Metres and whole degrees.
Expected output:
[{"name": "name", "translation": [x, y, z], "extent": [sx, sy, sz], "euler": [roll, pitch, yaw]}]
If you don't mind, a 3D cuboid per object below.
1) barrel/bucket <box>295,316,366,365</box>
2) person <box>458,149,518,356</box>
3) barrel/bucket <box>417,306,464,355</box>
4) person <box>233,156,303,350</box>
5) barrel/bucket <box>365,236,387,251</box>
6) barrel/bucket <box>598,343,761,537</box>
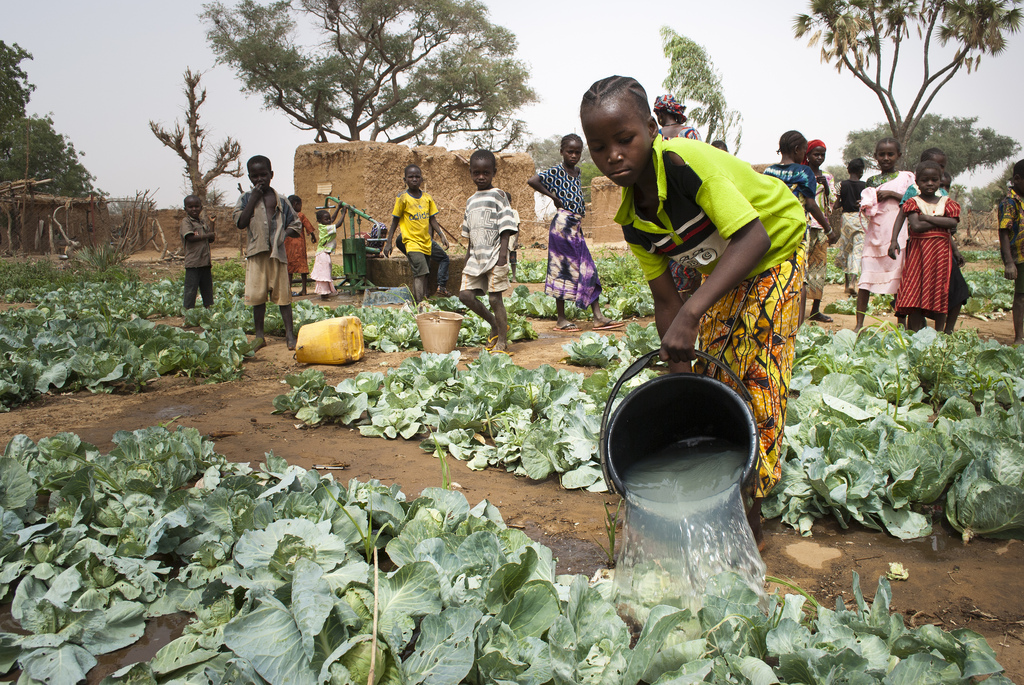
[{"name": "barrel/bucket", "translation": [-1.508, 0.023, 5.981], "extent": [0.505, 0.366, 0.491], "euler": [-3, 1, 0]}, {"name": "person", "translation": [-0.210, -0.830, 6.360], "extent": [0.515, 1.781, 0.966], "euler": [0, 3, 0]}, {"name": "barrel/bucket", "translation": [-0.591, -0.083, 5.746], "extent": [0.340, 0.321, 0.327], "euler": [0, 3, 0]}, {"name": "person", "translation": [-2.206, -0.823, 6.446], "extent": [0.645, 1.669, 0.525], "euler": [-6, 11, -34]}, {"name": "barrel/bucket", "translation": [-2.141, -1.542, 11.128], "extent": [0.204, 0.207, 0.241], "euler": [-4, 21, -29]}, {"name": "barrel/bucket", "translation": [0.692, 0.434, 2.816], "extent": [0.583, 0.833, 0.691], "euler": [1, 3, 19]}]
